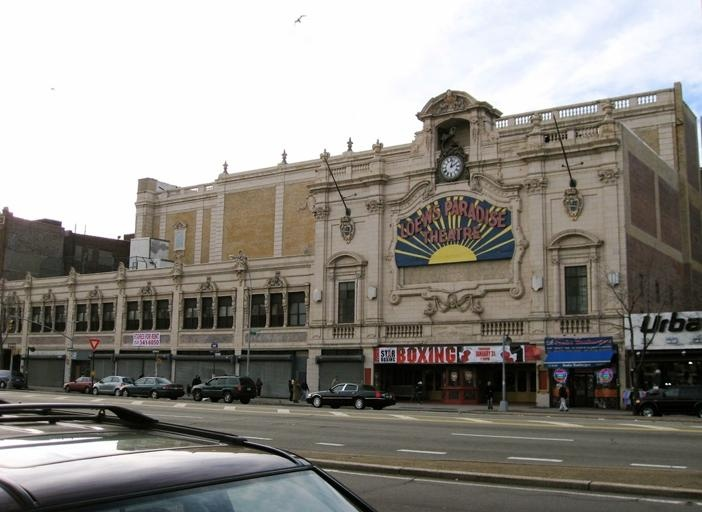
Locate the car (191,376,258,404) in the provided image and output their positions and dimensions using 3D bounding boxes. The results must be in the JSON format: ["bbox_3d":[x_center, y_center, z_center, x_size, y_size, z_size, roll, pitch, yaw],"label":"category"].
[{"bbox_3d":[-7.846,8.100,52.221,3.676,1.215,1.636,-1,-8,33],"label":"car"}]

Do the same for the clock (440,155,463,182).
[{"bbox_3d":[6.366,-5.463,53.846,2.055,1.788,0.143,1,-14,42],"label":"clock"}]

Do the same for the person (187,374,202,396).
[{"bbox_3d":[-10.700,8.801,58.516,0.769,0.617,2.326,3,-44,-14],"label":"person"}]
